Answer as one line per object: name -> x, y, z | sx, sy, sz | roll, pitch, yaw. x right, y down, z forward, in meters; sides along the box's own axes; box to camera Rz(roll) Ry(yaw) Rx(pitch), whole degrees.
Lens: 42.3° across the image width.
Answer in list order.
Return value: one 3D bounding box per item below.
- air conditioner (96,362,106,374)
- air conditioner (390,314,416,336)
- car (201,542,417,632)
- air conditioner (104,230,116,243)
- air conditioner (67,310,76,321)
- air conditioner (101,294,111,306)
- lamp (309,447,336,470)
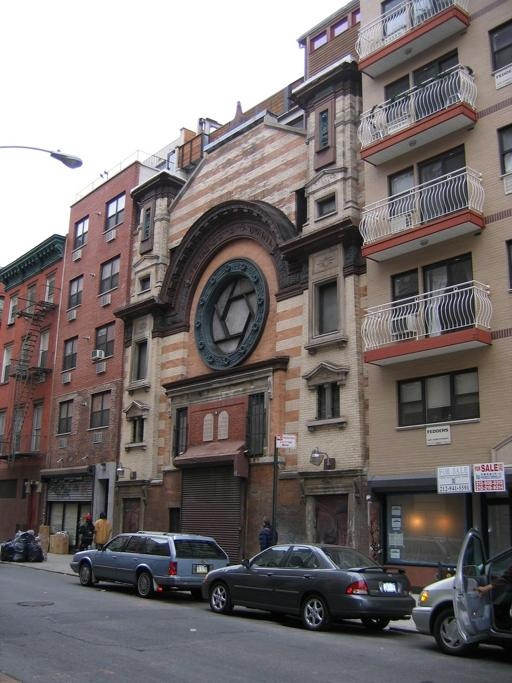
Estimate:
air conditioner -> -7.594, 1.288, 32.648 | 0.478, 0.425, 0.158 | -27, -40, 35
air conditioner -> 3.923, -0.445, 17.646 | 0.294, 0.488, 0.556 | 15, -14, -38
car -> 0.845, 4.280, 11.848 | 1.650, 1.286, 4.171 | 13, -21, -37
air conditioner -> -7.567, -5.473, 34.591 | 0.224, 0.580, 0.654 | 24, -46, -29
air conditioner -> -10.164, -1.432, 36.660 | 0.175, 0.478, 0.528 | 21, -34, -36
air conditioner -> -7.565, -2.093, 33.672 | 0.179, 0.468, 0.533 | 23, -41, -35
lamp -> 1.866, 3.416, 19.282 | 0.687, 0.608, 0.493 | 23, -23, -18
